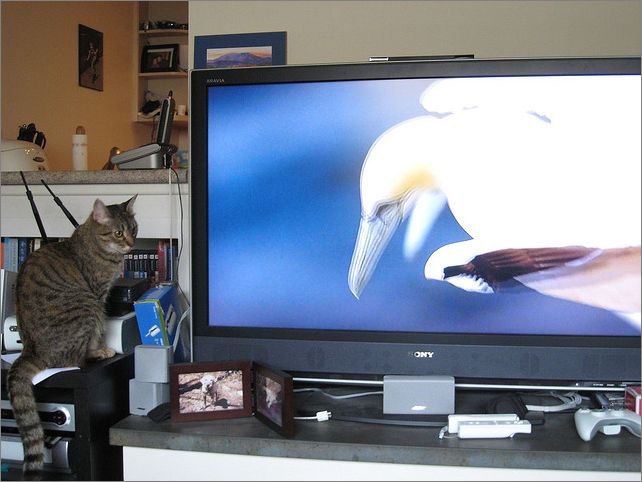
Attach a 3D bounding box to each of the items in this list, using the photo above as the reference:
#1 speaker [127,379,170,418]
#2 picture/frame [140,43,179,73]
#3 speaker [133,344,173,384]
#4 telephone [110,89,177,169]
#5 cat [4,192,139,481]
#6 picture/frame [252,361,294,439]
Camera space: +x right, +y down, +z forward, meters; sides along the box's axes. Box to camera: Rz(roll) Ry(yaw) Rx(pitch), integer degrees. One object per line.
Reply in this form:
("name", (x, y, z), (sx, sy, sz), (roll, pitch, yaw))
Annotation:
("speaker", (-0.572, 0.520, 2.062), (0.117, 0.118, 0.119), (-1, 0, 13))
("picture/frame", (-1.410, -1.612, 5.368), (0.265, 0.237, 0.090), (3, -11, 8))
("speaker", (-0.542, 0.390, 2.033), (0.145, 0.150, 0.112), (-1, -2, 4))
("telephone", (-0.738, -0.474, 2.570), (0.251, 0.324, 0.207), (0, 5, 2))
("cat", (-0.908, 0.334, 2.157), (0.324, 0.836, 0.434), (4, 6, 40))
("picture/frame", (-0.153, 0.510, 1.907), (0.028, 0.218, 0.189), (-6, -2, -34))
